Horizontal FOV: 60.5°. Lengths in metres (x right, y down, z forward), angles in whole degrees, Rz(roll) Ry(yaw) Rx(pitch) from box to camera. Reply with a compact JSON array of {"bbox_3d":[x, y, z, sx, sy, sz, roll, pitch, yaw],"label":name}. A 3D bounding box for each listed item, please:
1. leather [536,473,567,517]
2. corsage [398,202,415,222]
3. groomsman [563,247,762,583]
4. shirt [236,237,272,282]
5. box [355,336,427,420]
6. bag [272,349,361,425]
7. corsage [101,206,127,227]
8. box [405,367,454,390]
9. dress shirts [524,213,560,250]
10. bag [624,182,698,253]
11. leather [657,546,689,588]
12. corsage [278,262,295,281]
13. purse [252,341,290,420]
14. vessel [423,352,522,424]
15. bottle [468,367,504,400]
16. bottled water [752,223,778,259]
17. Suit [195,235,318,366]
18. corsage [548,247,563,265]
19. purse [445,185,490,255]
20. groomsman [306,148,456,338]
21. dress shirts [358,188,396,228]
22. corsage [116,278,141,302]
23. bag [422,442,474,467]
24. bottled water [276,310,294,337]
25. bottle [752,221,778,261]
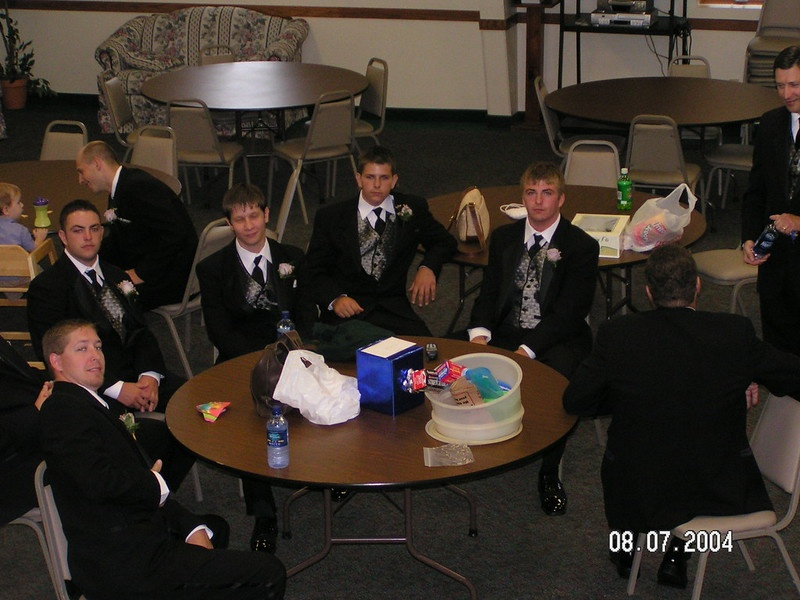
[{"bbox_3d":[0.786,1.005,3.547,0.086,0.094,0.238,-4,17,-2],"label":"leather"},{"bbox_3d":[0.029,-0.533,4.200,0.086,0.091,0.042,-2,-15,0],"label":"corsage"},{"bbox_3d":[1.083,0.549,2.786,0.811,1.428,0.624,-5,22,-3],"label":"groomsman"},{"bbox_3d":[-0.832,-0.220,3.854,0.163,0.238,0.167,-3,0,-9],"label":"shirt"},{"bbox_3d":[-0.040,0.329,2.871,0.283,0.223,0.290,-6,11,-24],"label":"box"},{"bbox_3d":[-0.333,0.369,2.757,0.341,0.248,0.140,31,-25,-12],"label":"bag"},{"bbox_3d":[-1.925,-0.547,4.587,0.131,0.064,0.102,2,-5,6],"label":"corsage"},{"bbox_3d":[0.106,0.314,2.766,0.153,0.088,0.051,-1,40,-4],"label":"box"},{"bbox_3d":[0.779,-0.366,3.756,0.156,0.210,0.158,2,6,8],"label":"dress shirts"},{"bbox_3d":[1.658,-0.541,4.223,0.288,0.361,0.702,16,28,37],"label":"bag"},{"bbox_3d":[1.207,1.172,3.010,0.130,0.186,0.055,6,-3,8],"label":"leather"},{"bbox_3d":[-0.643,-0.161,3.864,0.077,0.044,0.087,12,-14,-33],"label":"corsage"},{"bbox_3d":[-0.567,0.307,2.885,0.140,0.273,0.277,8,7,-8],"label":"purse"},{"bbox_3d":[0.275,0.370,2.667,0.283,0.106,0.291,12,37,34],"label":"vessel"},{"bbox_3d":[0.337,0.331,2.744,0.090,0.058,0.144,-31,66,-28],"label":"bottle"},{"bbox_3d":[2.111,-0.334,3.949,0.065,0.216,0.111,-20,46,-24],"label":"bottled water"},{"bbox_3d":[-0.782,-0.007,3.759,0.613,0.733,0.419,-11,18,-27],"label":"Suit"},{"bbox_3d":[0.845,-0.236,3.737,0.060,0.080,0.075,15,27,36],"label":"corsage"},{"bbox_3d":[0.449,-0.564,4.412,0.252,0.297,0.535,1,30,6],"label":"purse"},{"bbox_3d":[-0.124,0.032,4.448,0.902,2.000,0.701,-2,35,-5],"label":"groomsman"},{"bbox_3d":[-0.145,-0.569,4.177,0.221,0.218,0.189,-2,6,-2],"label":"dress shirts"},{"bbox_3d":[-1.549,-0.059,3.842,0.084,0.028,0.115,4,56,-45],"label":"corsage"},{"bbox_3d":[0.174,0.566,2.520,0.097,0.020,0.086,-7,30,-7],"label":"bag"},{"bbox_3d":[-0.605,0.125,3.539,0.060,0.158,0.061,-3,42,-7],"label":"bottled water"},{"bbox_3d":[2.139,-0.330,4.002,0.064,0.246,0.059,1,65,-2],"label":"bottle"}]
